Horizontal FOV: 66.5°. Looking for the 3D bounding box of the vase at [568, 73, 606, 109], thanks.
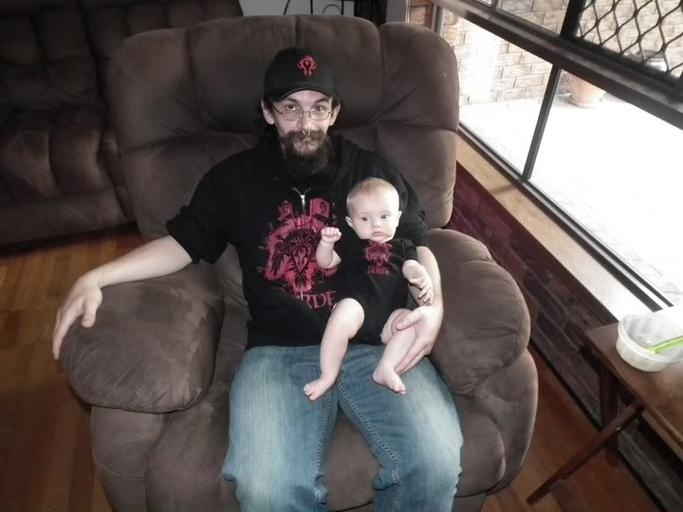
[{"bbox_3d":[1.074,-0.719,2.315,0.127,0.114,0.139,11,32,-2],"label":"vase"}]
